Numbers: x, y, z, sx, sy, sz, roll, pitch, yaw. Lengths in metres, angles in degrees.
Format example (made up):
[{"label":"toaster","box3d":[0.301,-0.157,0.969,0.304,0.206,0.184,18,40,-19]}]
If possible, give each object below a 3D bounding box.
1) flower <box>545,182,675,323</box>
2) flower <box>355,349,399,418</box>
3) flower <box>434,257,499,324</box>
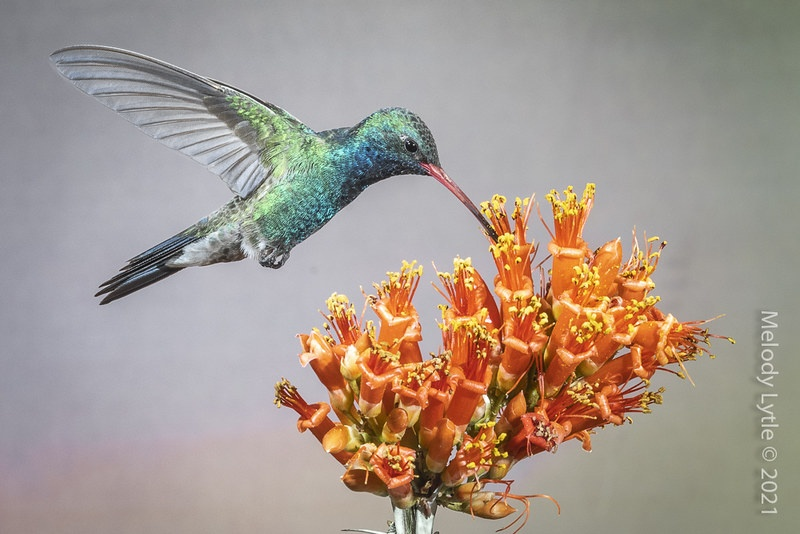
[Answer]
[{"label":"flower","box3d":[0.475,-0.042,2.406,0.285,0.307,0.208,7,-47,15]},{"label":"flower","box3d":[-0.049,0.285,2.385,0.113,0.100,0.130,-1,-68,-25]},{"label":"flower","box3d":[0.147,0.055,2.451,0.154,0.245,0.129,-8,-70,1]}]
